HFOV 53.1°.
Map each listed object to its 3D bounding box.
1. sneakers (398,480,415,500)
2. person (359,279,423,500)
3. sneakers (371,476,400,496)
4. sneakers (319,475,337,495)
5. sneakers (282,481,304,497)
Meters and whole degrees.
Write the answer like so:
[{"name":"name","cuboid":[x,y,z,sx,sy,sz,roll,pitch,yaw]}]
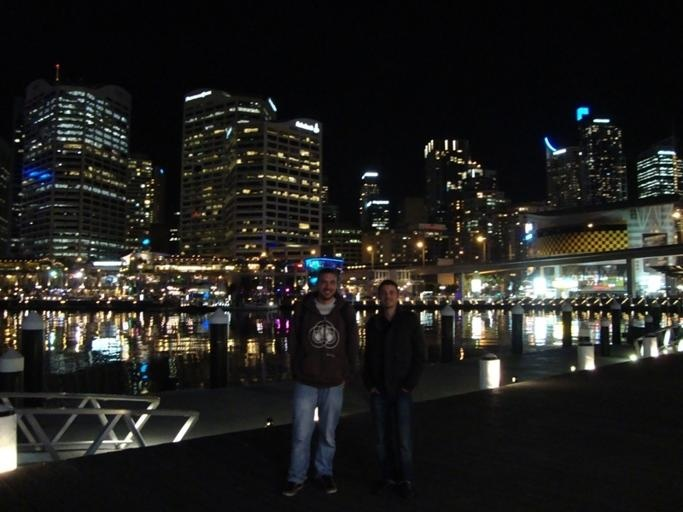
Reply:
[{"name":"sneakers","cuboid":[0.919,3.428,9.967,0.203,0.221,0.248,1,-19,-3]},{"name":"person","cuboid":[0.783,1.940,10.304,0.951,3.135,0.499,-3,-4,10]},{"name":"sneakers","cuboid":[0.655,3.490,10.290,0.451,0.183,0.161,19,-23,-38]},{"name":"sneakers","cuboid":[-0.203,3.419,10.147,0.137,0.242,0.391,8,-35,-22]},{"name":"sneakers","cuboid":[-0.730,3.451,10.065,0.149,0.286,0.303,-9,-29,33]}]
